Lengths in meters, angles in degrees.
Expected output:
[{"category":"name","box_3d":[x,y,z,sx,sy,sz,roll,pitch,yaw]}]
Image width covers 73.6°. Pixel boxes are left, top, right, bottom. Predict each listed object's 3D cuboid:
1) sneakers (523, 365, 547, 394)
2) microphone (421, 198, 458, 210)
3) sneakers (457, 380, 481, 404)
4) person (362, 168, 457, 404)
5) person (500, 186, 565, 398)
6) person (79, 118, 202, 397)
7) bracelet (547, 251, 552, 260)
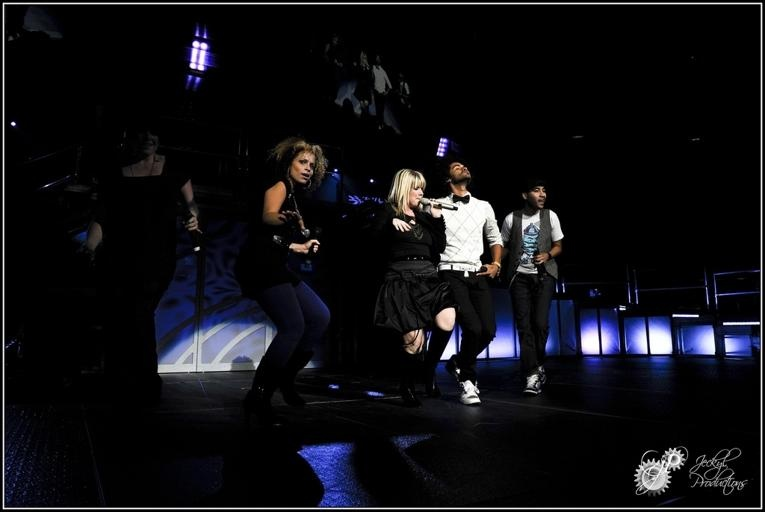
[{"category":"sneakers","box_3d":[1.339,1.126,4.588,0.141,0.201,0.443,-5,-10,22]},{"category":"microphone","box_3d":[0.486,-0.458,4.476,0.272,0.070,0.072,12,-8,-26]},{"category":"sneakers","box_3d":[0.697,1.097,4.069,0.159,0.157,0.313,2,5,9]},{"category":"person","box_3d":[0.266,0.241,4.312,0.676,1.958,0.460,1,6,-1]},{"category":"person","box_3d":[1.401,0.241,4.971,0.579,1.962,0.870,3,6,18]},{"category":"person","box_3d":[-1.730,0.043,3.717,0.649,1.971,0.415,-3,7,-29]},{"category":"bracelet","box_3d":[1.623,0.007,5.003,0.031,0.083,0.122,5,7,34]}]
